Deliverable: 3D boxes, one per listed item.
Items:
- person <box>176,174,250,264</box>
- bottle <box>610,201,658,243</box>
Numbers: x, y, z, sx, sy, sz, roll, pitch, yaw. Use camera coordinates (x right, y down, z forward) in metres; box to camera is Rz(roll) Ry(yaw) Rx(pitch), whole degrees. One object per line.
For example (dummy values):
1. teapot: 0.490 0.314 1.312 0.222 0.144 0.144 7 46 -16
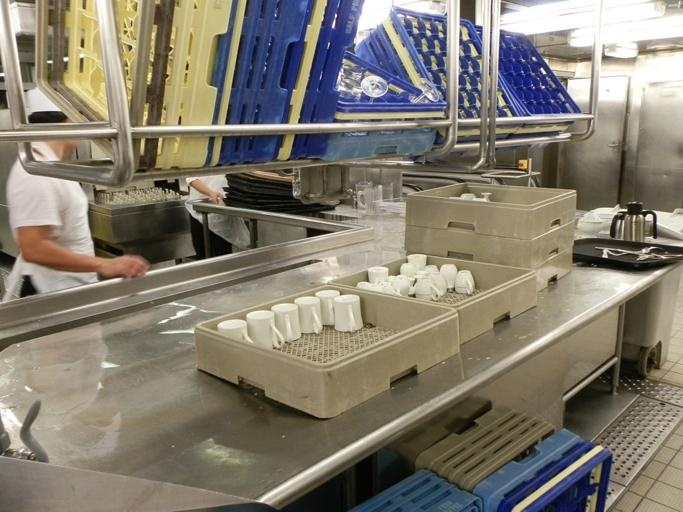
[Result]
1. person: -1.187 -0.336 4.390 0.500 0.850 0.911 -7 16 -17
2. bottle: 1.701 -0.200 2.712 0.252 0.237 0.568 8 16 32
